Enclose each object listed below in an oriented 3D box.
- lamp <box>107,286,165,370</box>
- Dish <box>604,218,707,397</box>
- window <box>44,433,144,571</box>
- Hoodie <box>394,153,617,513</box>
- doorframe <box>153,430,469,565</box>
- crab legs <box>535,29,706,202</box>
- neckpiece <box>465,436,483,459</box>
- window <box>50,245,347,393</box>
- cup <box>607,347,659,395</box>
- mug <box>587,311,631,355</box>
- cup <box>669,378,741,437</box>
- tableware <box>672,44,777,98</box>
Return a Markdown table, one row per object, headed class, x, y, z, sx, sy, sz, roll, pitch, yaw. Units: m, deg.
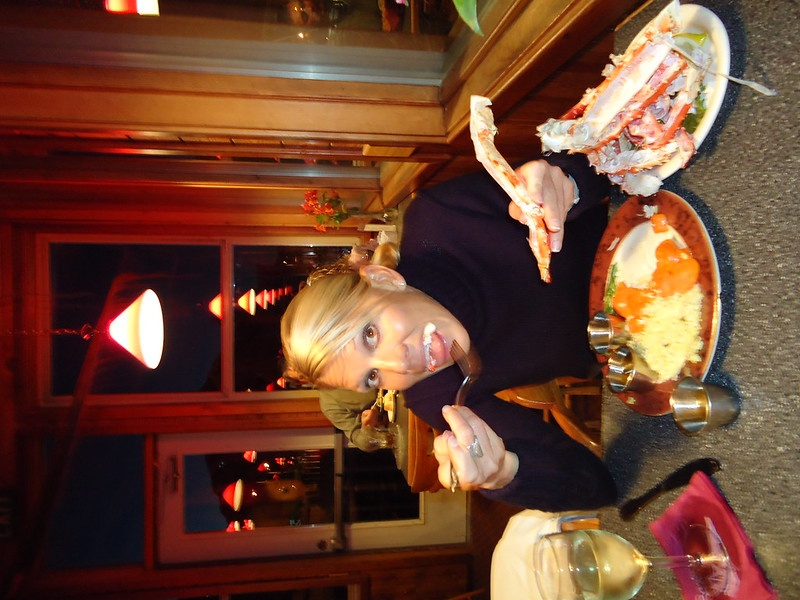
| class | x | y | z | sx | sy | sz | roll | pitch | yaw |
| --- | --- | --- | --- | --- | --- | --- | --- | --- | --- |
| lamp | -1.240 | 0.132 | 3.409 | 0.198 | 0.365 | 0.341 | -7 | 67 | 15 |
| Dish | 0.695 | 0.004 | 1.902 | 0.062 | 0.304 | 0.378 | 7 | 74 | -34 |
| window | -1.935 | 1.279 | 4.454 | 0.566 | 0.234 | 0.815 | 0 | 75 | -5 |
| Hoodie | 0.493 | 0.152 | 2.470 | 0.462 | 0.907 | 1.107 | 29 | 40 | -43 |
| doorframe | -0.682 | 1.265 | 4.461 | 1.683 | 0.205 | 0.745 | -1 | 84 | -6 |
| crab legs | 0.605 | -0.459 | 1.835 | 0.435 | 0.154 | 0.377 | 26 | 104 | 11 |
| neckpiece | 0.216 | 0.436 | 2.060 | 0.059 | 0.016 | 0.050 | -21 | 102 | -39 |
| window | -1.306 | 0.127 | 4.153 | 1.242 | 0.043 | 0.586 | -1 | 92 | -12 |
| cup | 0.618 | 0.195 | 1.928 | 0.109 | 0.114 | 0.126 | 6 | 50 | -14 |
| mug | 0.579 | 0.090 | 2.011 | 0.098 | 0.098 | 0.115 | -2 | 31 | -2 |
| cup | 0.759 | 0.275 | 1.848 | 0.142 | 0.149 | 0.147 | 9 | 64 | -18 |
| tableware | 0.834 | -0.594 | 1.795 | 0.245 | 0.031 | 0.029 | 33 | 55 | 19 |
